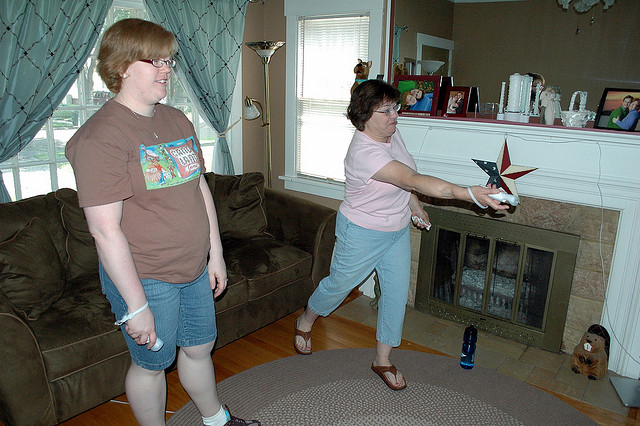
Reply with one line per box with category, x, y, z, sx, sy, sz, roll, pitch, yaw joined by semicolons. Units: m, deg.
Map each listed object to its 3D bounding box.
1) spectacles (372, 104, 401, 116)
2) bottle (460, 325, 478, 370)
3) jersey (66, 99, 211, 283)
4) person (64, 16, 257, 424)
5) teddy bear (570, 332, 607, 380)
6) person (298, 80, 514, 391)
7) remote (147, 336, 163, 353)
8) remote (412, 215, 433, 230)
spectacles;0.387;-0.591;2.355;0.180;0.054;0.065;-13;22;-34
bottle;1.057;0.924;2.901;0.096;0.316;0.180;7;20;21
jersey;-0.768;-0.084;1.797;0.543;0.781;0.303;-12;21;-31
person;-0.719;0.210;1.894;0.614;2.035;0.394;-12;21;-31
teddy bear;1.929;1.004;2.923;0.187;0.302;0.225;-5;11;-38
person;0.398;0.195;2.489;1.244;1.893;0.424;14;23;38
remote;-0.718;0.572;1.784;0.058;0.056;0.057;26;51;-21
remote;0.626;0.060;2.616;0.152;0.046;0.088;39;18;19
